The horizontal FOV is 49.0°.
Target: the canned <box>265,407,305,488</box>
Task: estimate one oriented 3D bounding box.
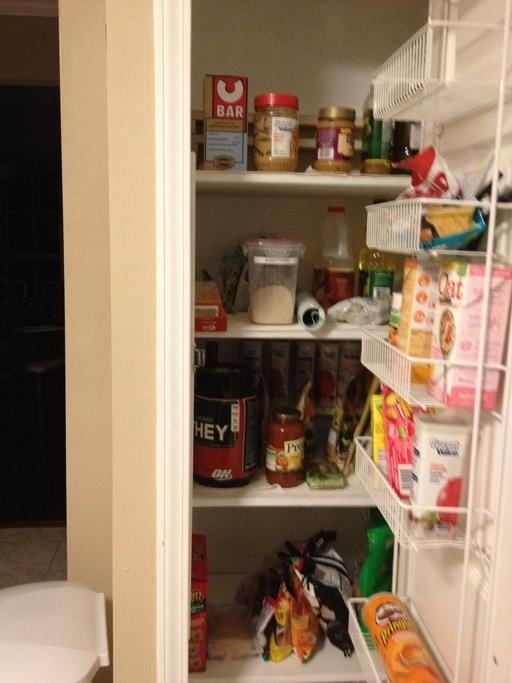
[{"bbox_3d":[0.069,0.247,1.336,0.092,0.174,0.096,0,10,-9],"label":"canned"}]

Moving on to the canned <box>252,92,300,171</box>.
[{"bbox_3d":[0.024,-0.455,1.265,0.128,0.220,0.137,1,11,-3],"label":"canned"}]
